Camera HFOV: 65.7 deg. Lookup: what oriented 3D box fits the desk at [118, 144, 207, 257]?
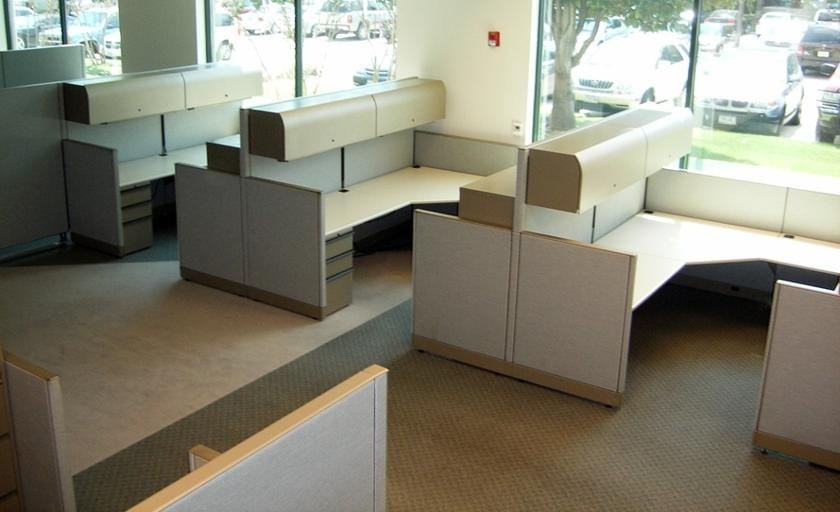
[{"bbox_3d":[-2.843,-0.612,7.159,0.426,0.598,1.291,12,26,21],"label":"desk"}]
